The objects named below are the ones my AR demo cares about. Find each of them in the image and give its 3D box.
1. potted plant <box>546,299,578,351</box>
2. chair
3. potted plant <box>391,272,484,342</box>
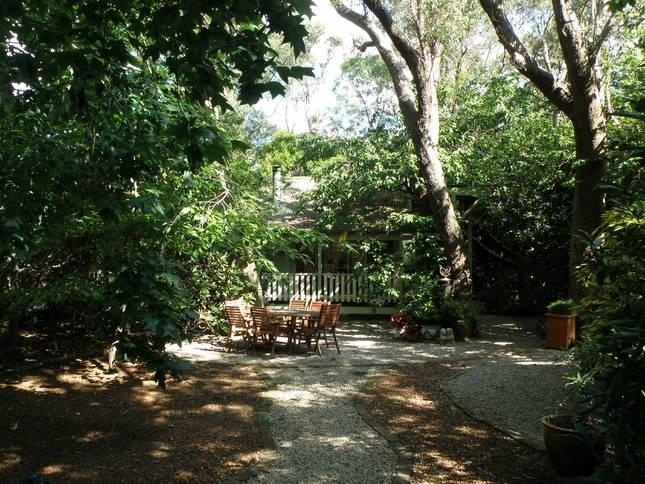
[{"bbox_3d":[5.315,1.851,12.352,0.640,0.851,1.011,2,1,22],"label":"potted plant"},{"bbox_3d":[-0.816,1.856,12.296,2.513,1.106,2.122,2,0,3],"label":"chair"},{"bbox_3d":[2.865,1.724,14.099,1.870,1.207,1.763,1,7,1],"label":"potted plant"}]
